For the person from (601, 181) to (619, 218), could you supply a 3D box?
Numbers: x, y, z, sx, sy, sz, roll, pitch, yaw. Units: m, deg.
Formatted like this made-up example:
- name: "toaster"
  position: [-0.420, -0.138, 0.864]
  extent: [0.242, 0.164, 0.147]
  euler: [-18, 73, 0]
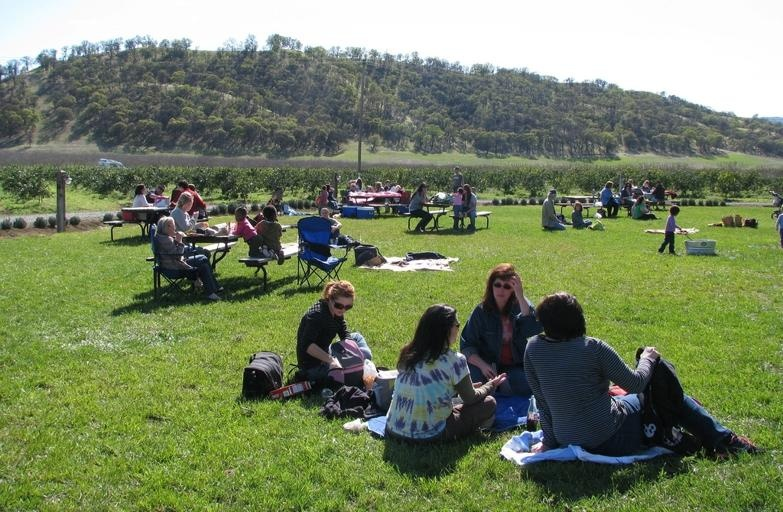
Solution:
- name: "person"
  position: [9.022, -2.365, 27.472]
  extent: [0.697, 1.403, 1.435]
  euler: [2, 8, 19]

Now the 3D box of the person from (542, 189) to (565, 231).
- name: "person"
  position: [5.645, -1.674, 23.310]
  extent: [0.716, 1.385, 1.674]
  euler: [2, 7, 13]

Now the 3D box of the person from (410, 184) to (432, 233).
- name: "person"
  position: [1.020, -1.729, 23.102]
  extent: [0.726, 1.593, 1.877]
  euler: [0, 7, 3]

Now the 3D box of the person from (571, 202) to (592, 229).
- name: "person"
  position: [6.742, -1.459, 23.549]
  extent: [0.649, 0.892, 1.323]
  euler: [2, 8, 17]

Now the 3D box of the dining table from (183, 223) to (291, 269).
- name: "dining table"
  position: [-3.167, -0.173, 14.362]
  extent: [1.230, 0.365, 1.421]
  euler: [4, 11, 11]

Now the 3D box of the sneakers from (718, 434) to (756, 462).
- name: "sneakers"
  position: [4.407, 2.426, 8.511]
  extent: [0.600, 0.303, 0.237]
  euler: [-3, 3, 1]

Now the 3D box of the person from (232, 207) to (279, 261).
- name: "person"
  position: [-2.890, -0.436, 14.655]
  extent: [0.915, 0.859, 1.441]
  euler: [2, 8, 12]

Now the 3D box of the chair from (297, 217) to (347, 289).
- name: "chair"
  position: [-1.752, -0.044, 14.618]
  extent: [1.077, 1.532, 1.136]
  euler: [1, -4, 9]

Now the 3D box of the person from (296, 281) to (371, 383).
- name: "person"
  position: [-0.837, 1.114, 10.178]
  extent: [1.078, 1.575, 1.273]
  euler: [6, 14, 17]

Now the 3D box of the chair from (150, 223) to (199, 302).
- name: "chair"
  position: [-4.291, -0.084, 13.319]
  extent: [0.880, 1.667, 0.912]
  euler: [7, 27, -4]

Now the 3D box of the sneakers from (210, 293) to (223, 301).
- name: "sneakers"
  position: [-3.472, 0.808, 13.286]
  extent: [0.303, 0.133, 0.107]
  euler: [-1, 10, 26]

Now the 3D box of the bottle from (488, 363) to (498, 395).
- name: "bottle"
  position: [1.482, 1.729, 9.680]
  extent: [0.085, 0.354, 0.247]
  euler: [1, -18, 17]

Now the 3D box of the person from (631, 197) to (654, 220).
- name: "person"
  position: [9.767, -1.841, 25.682]
  extent: [0.825, 1.005, 0.698]
  euler: [-8, 20, -10]

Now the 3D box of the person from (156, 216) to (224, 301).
- name: "person"
  position: [-4.126, 0.010, 13.382]
  extent: [1.035, 1.849, 0.767]
  euler: [-15, 16, -33]

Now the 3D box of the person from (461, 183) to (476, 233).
- name: "person"
  position: [2.665, -1.672, 22.732]
  extent: [0.438, 1.509, 1.130]
  euler: [1, 7, 6]
